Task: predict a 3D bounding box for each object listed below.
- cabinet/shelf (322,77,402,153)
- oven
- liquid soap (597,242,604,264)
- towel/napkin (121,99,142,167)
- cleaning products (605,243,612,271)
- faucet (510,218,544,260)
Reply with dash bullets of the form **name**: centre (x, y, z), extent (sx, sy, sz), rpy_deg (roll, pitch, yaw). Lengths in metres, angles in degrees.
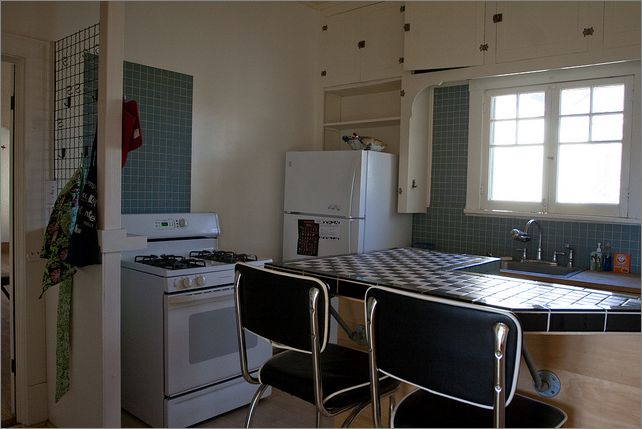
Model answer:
- **cabinet/shelf**: centre (0.452, -1.076, 5.050), extent (0.882, 0.853, 0.286), rpy_deg (1, -1, 39)
- **oven**: centre (-0.792, 0.868, 3.563), extent (0.623, 0.890, 0.969), rpy_deg (-2, 0, 41)
- **liquid soap**: centre (2.366, 0.333, 4.008), extent (0.053, 0.166, 0.049), rpy_deg (2, 3, 30)
- **towel/napkin**: centre (-1.204, -0.521, 3.000), extent (0.108, 0.430, 0.219), rpy_deg (0, 2, -21)
- **cleaning products**: centre (2.417, 0.364, 3.976), extent (0.061, 0.223, 0.056), rpy_deg (2, 3, 32)
- **faucet**: centre (1.854, 0.228, 4.260), extent (0.262, 0.368, 0.239), rpy_deg (2, 2, 23)
